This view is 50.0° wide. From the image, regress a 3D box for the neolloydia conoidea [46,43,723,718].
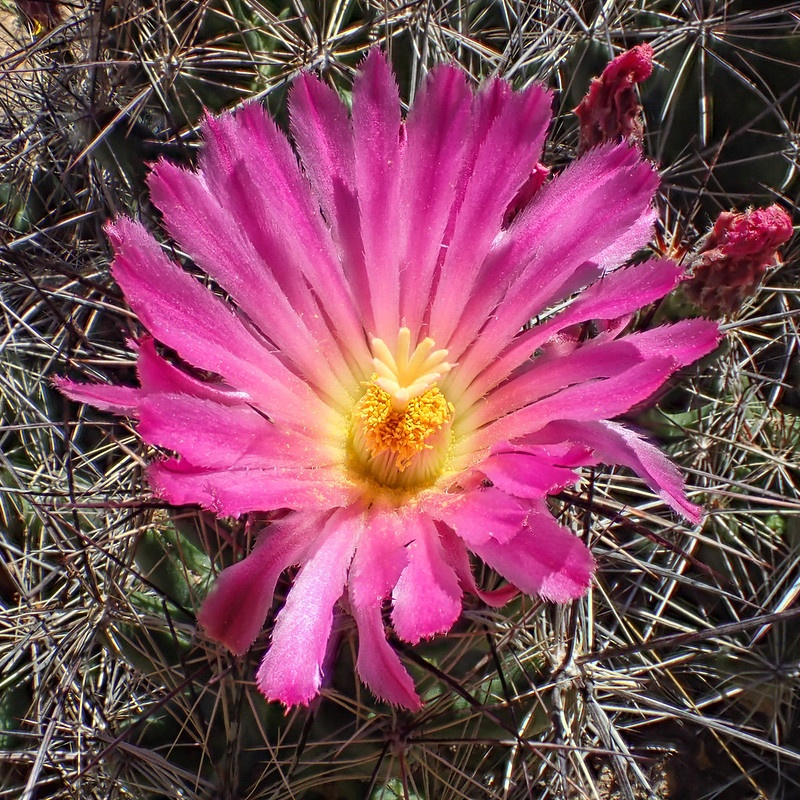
[{"bbox_3d":[0.000,-0.048,0.962,0.640,0.308,0.651,17,86,0],"label":"neolloydia conoidea"}]
